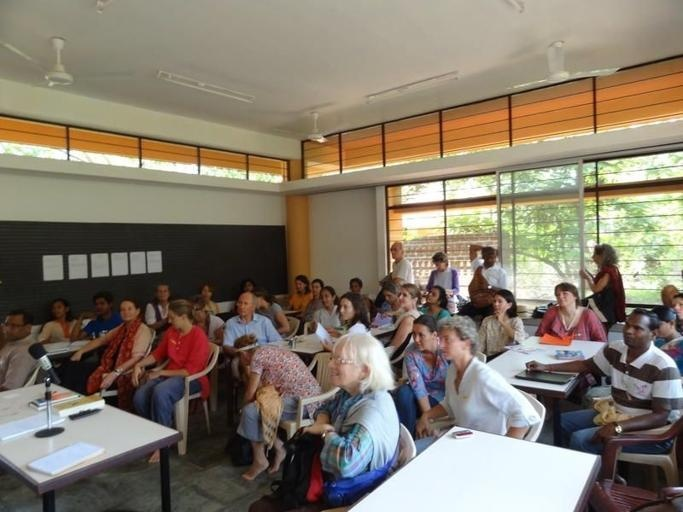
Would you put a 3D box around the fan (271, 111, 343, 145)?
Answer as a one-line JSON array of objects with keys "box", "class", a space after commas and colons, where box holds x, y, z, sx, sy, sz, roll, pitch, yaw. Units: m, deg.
[{"box": [-0.634, -2.221, 8.311, 0.733, 0.310, 0.827, -1, 5, -10], "class": "fan"}]

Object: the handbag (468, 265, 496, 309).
[{"box": [1.982, 0.464, 6.877, 0.201, 0.518, 0.387, 0, 0, -28], "class": "handbag"}]

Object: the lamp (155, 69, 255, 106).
[{"box": [-1.792, -2.219, 6.336, 1.066, 0.037, 0.167, 3, -31, -43], "class": "lamp"}]

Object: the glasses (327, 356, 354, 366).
[{"box": [-0.012, 0.604, 2.789, 0.172, 0.039, 0.049, -1, 1, 31], "class": "glasses"}]

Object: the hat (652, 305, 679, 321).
[{"box": [2.641, 0.464, 3.952, 0.246, 0.108, 0.142, -2, 1, -23], "class": "hat"}]

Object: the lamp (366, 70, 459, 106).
[{"box": [0.985, -2.253, 6.443, 1.057, 0.169, 0.104, 1, 35, 33], "class": "lamp"}]

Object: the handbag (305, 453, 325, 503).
[{"box": [-0.143, 1.263, 2.739, 0.102, 0.251, 0.079, -2, 1, 17], "class": "handbag"}]

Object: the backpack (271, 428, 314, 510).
[{"box": [-0.260, 1.240, 2.801, 0.166, 0.370, 0.299, 25, -23, -40], "class": "backpack"}]

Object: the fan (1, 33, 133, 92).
[{"box": [-3.010, -2.031, 5.103, 0.717, 0.219, 0.697, 3, -11, -34], "class": "fan"}]

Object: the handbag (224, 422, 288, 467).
[{"box": [-0.879, 1.724, 4.367, 0.360, 0.448, 0.191, -5, -6, 10], "class": "handbag"}]

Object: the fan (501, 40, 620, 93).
[{"box": [2.507, -2.119, 5.440, 1.004, 0.369, 0.895, -14, 16, 0], "class": "fan"}]
